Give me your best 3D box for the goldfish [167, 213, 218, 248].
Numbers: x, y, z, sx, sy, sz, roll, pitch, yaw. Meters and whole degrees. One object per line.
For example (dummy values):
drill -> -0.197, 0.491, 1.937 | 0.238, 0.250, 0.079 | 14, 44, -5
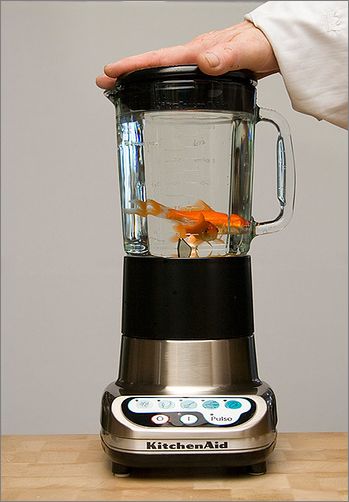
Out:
goldfish -> 0.027, -0.025, 0.636 | 0.068, 0.038, 0.026 | 1, 7, 6

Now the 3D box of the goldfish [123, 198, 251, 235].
goldfish -> 0.016, -0.041, 0.646 | 0.159, 0.051, 0.034 | 11, -13, 11
